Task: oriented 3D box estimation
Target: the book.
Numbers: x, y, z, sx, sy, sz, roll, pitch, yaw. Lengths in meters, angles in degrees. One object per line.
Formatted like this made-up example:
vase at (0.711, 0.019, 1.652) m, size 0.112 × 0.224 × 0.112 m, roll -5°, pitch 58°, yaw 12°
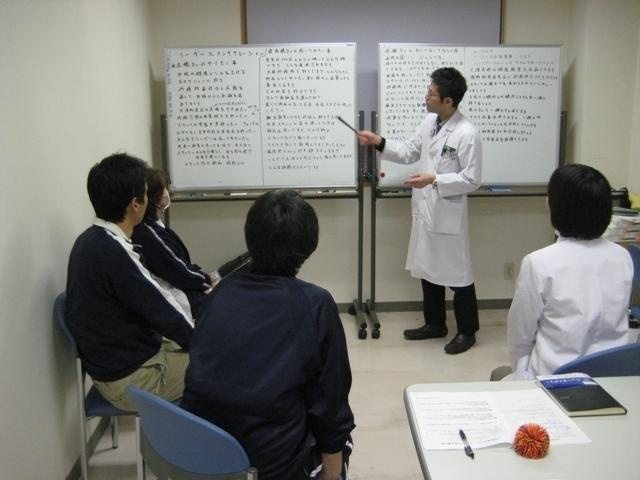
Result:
book at (0.870, 0.520, 1.758) m, size 0.226 × 0.054 × 0.168 m, roll -2°, pitch 15°, yaw -1°

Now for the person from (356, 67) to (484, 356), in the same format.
person at (0.781, -0.213, 3.676) m, size 0.704 × 1.900 × 0.512 m, roll 4°, pitch 14°, yaw 23°

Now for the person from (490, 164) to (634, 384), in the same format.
person at (1.000, 0.174, 2.090) m, size 0.457 × 0.925 × 0.245 m, roll 5°, pitch 14°, yaw 24°

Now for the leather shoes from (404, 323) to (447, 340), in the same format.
leather shoes at (0.770, 0.675, 3.890) m, size 0.314 × 0.152 × 0.126 m, roll 1°, pitch 0°, yaw -3°

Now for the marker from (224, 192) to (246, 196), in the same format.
marker at (-0.633, -0.355, 3.972) m, size 0.124 × 0.022 × 0.033 m, roll 1°, pitch -18°, yaw 4°
